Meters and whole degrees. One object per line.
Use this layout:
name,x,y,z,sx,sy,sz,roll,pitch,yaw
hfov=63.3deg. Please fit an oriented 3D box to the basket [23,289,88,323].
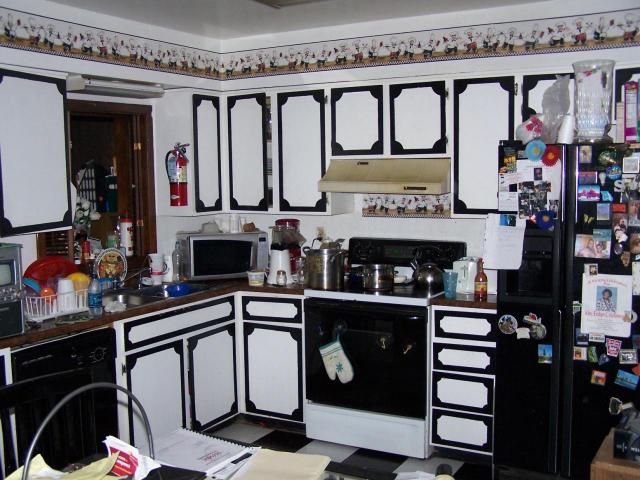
basket,-1.581,0.398,3.124,0.344,0.132,0.233,-5,8,-30

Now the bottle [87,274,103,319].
bottle,-1.404,0.356,3.227,0.080,0.189,0.190,-3,7,-25

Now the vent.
vent,0.456,-0.472,3.840,0.961,0.264,0.264,3,7,26

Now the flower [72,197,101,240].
flower,-1.762,-0.142,3.875,0.089,0.261,0.257,3,5,14

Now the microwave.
microwave,-0.809,0.075,4.260,0.693,0.393,0.406,0,18,-33

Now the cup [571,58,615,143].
cup,1.494,-0.756,2.853,0.202,0.442,0.101,1,6,15

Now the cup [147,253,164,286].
cup,-1.259,0.230,3.985,0.106,0.232,0.111,-1,6,0

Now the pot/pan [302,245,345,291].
pot/pan,0.082,0.224,3.851,0.339,0.283,0.349,1,5,37

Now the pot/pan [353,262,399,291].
pot/pan,0.392,0.224,3.756,0.259,0.128,0.184,0,11,1

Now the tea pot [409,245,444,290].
tea pot,0.751,0.190,3.762,0.260,0.292,0.187,3,19,17

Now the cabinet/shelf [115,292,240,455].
cabinet/shelf,-0.936,0.825,3.292,0.340,0.913,0.946,2,7,32

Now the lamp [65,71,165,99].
lamp,-1.545,-1.129,3.886,0.390,0.113,0.829,5,9,37

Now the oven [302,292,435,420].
oven,0.400,0.890,3.792,0.863,0.875,0.592,1,-4,23

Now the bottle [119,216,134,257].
bottle,-1.589,-0.019,4.275,0.066,0.322,0.143,3,7,30

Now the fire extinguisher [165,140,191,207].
fire extinguisher,-1.181,-0.520,4.211,0.231,0.514,0.105,2,6,24

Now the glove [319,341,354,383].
glove,0.109,0.845,3.577,0.191,0.312,0.075,-24,-8,23

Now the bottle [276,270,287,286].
bottle,-0.297,0.297,4.009,0.091,0.142,0.097,0,3,0

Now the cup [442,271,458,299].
cup,0.902,0.312,3.569,0.134,0.222,0.137,-1,3,0
